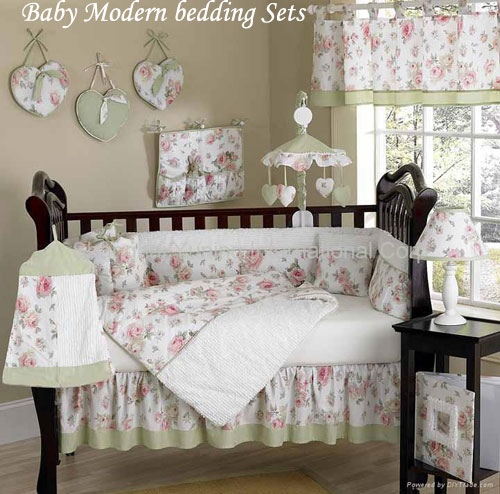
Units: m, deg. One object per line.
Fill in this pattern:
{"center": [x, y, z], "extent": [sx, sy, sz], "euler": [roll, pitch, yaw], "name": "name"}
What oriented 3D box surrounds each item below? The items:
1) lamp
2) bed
{"center": [0.722, 0.066, 1.944], "extent": [0.257, 0.423, 0.276], "euler": [0, 3, 18], "name": "lamp"}
{"center": [-0.134, 0.296, 2.623], "extent": [1.845, 1.342, 1.339], "euler": [-1, 3, 5], "name": "bed"}
